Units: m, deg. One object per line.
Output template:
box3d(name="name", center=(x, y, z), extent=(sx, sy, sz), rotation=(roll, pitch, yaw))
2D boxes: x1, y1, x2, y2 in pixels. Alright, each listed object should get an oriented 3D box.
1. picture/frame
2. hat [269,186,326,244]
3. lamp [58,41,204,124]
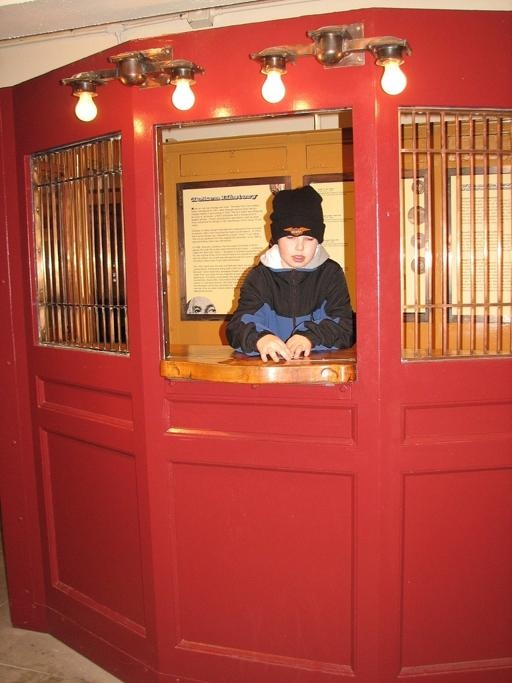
box3d(name="picture/frame", center=(0.375, -0.397, 2.430), extent=(0.879, 0.478, 0.013), rotation=(2, 10, 20))
box3d(name="hat", center=(0.124, -0.427, 2.102), extent=(0.212, 0.179, 0.190), rotation=(1, 12, -2))
box3d(name="lamp", center=(-0.365, -0.773, 1.887), extent=(0.454, 0.197, 0.199), rotation=(1, 12, 17))
